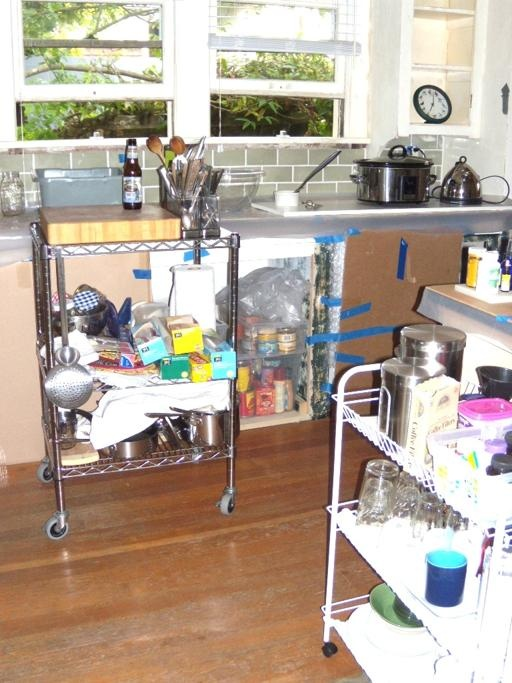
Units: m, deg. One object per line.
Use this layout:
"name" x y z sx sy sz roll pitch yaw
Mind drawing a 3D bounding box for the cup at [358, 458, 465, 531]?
"cup" 0.306 0.320 1.160 0.105 0.149 0.158 -3 20 -5

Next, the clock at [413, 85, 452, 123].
"clock" 0.941 -1.270 3.101 0.258 0.246 0.050 8 -13 -32

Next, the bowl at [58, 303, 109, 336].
"bowl" -0.647 -0.083 2.158 0.120 0.097 0.139 0 7 6

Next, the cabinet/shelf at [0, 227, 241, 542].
"cabinet/shelf" -0.451 0.096 2.136 0.721 1.046 0.683 -5 15 -21

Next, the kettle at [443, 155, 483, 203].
"kettle" 1.033 -0.798 2.882 0.219 0.215 0.187 -15 20 -32

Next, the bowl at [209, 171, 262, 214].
"bowl" -0.079 -0.680 2.695 0.286 0.175 0.277 -1 21 0

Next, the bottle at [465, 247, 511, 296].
"bottle" 0.567 -0.190 1.511 0.144 0.137 0.080 -1 25 3

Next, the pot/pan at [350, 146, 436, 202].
"pot/pan" 0.673 -0.809 2.812 0.366 0.273 0.338 -14 26 -29

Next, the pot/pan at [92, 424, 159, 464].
"pot/pan" -0.443 0.366 2.070 0.133 0.042 0.123 -8 21 -22

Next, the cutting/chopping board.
"cutting/chopping board" -0.477 -0.381 1.880 0.409 0.106 0.407 -5 15 -19

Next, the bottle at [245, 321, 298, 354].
"bottle" 0.075 -0.022 2.783 0.263 0.161 0.113 -2 15 -8

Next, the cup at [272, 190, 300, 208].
"cup" 0.151 -0.653 2.687 0.101 0.058 0.099 0 10 0

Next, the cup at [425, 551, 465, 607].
"cup" 0.296 0.371 0.902 0.057 0.062 0.057 0 28 0

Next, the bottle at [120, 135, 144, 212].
"bottle" -0.423 -0.567 1.976 0.066 0.233 0.134 -3 15 -12

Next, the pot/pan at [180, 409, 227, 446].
"pot/pan" -0.183 0.300 2.157 0.169 0.113 0.118 -6 16 -23
